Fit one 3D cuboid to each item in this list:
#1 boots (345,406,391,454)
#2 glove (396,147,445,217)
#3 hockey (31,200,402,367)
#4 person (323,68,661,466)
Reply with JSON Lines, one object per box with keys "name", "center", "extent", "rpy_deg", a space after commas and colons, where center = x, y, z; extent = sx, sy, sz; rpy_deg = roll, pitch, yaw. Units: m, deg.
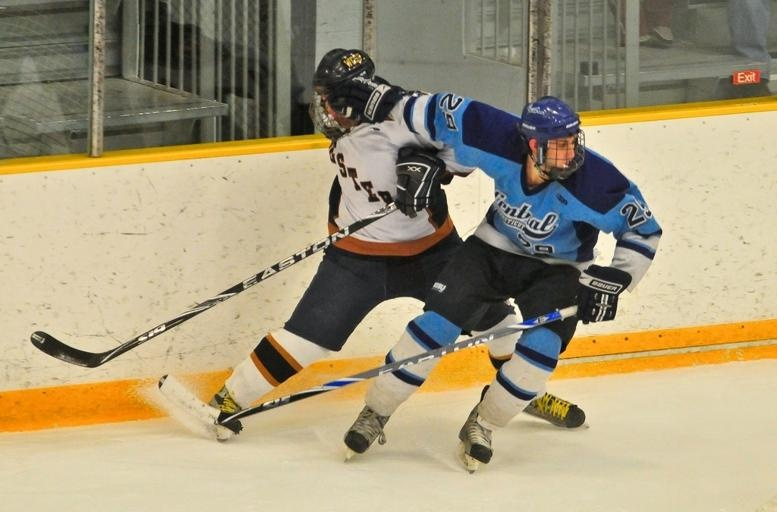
{"name": "boots", "center": [-0.072, 0.785, 4.254], "extent": [0.129, 0.119, 0.297], "rpy_deg": [40, 24, -2]}
{"name": "glove", "center": [0.145, -0.331, 4.148], "extent": [0.239, 0.289, 0.127], "rpy_deg": [27, 19, 26]}
{"name": "hockey", "center": [-0.923, 0.117, 4.543], "extent": [1.895, 0.142, 0.285], "rpy_deg": [-19, 46, 10]}
{"name": "person", "center": [0.501, 0.103, 4.137], "extent": [1.360, 1.708, 0.496], "rpy_deg": [4, 12, 1]}
